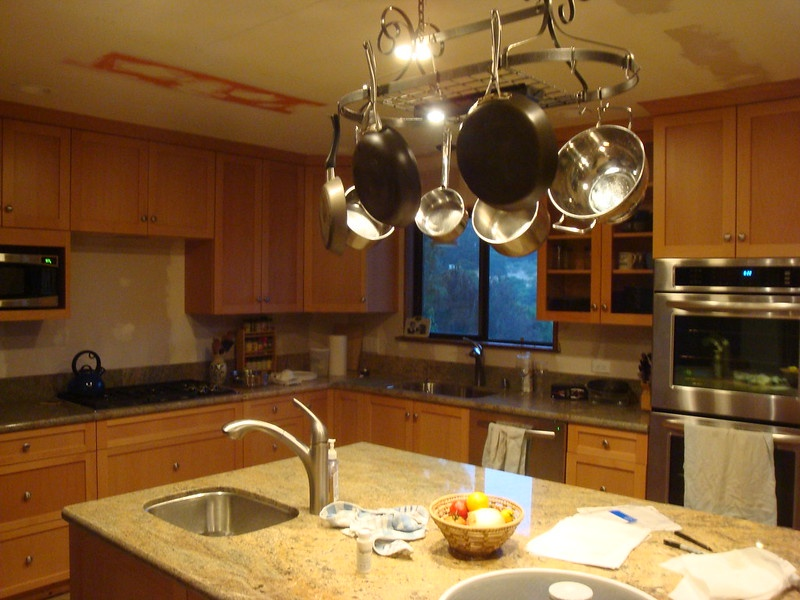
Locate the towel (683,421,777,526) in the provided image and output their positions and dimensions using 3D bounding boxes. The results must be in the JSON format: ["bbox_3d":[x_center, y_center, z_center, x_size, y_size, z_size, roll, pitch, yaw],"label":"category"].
[{"bbox_3d":[1.752,0.947,3.637,0.430,0.605,0.059,2,22,27],"label":"towel"}]

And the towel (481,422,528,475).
[{"bbox_3d":[0.580,0.818,3.714,0.225,0.273,0.038,5,4,31],"label":"towel"}]

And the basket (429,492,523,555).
[{"bbox_3d":[0.252,0.850,2.526,0.318,0.154,0.351,1,3,17],"label":"basket"}]

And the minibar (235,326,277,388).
[{"bbox_3d":[-1.139,0.440,5.466,0.230,0.478,0.126,-3,22,-18],"label":"minibar"}]

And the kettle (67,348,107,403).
[{"bbox_3d":[-2.085,0.482,4.479,0.232,0.294,0.192,1,7,-26],"label":"kettle"}]

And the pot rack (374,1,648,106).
[{"bbox_3d":[0.420,-1.011,2.726,0.553,0.225,0.294,2,-19,39],"label":"pot rack"}]

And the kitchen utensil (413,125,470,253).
[{"bbox_3d":[0.191,-0.427,2.761,0.177,0.533,0.060,3,5,41],"label":"kitchen utensil"}]

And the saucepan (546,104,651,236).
[{"bbox_3d":[0.720,-0.418,2.410,0.312,0.552,0.198,-1,-23,35],"label":"saucepan"}]

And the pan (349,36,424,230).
[{"bbox_3d":[-0.047,-0.572,2.347,0.296,0.595,0.081,0,13,45],"label":"pan"}]

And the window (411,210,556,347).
[{"bbox_3d":[0.605,-0.091,4.626,0.953,0.821,0.081,2,1,41],"label":"window"}]

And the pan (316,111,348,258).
[{"bbox_3d":[-0.252,-0.420,2.521,0.055,0.441,0.219,-3,1,-17],"label":"pan"}]

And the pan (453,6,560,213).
[{"bbox_3d":[0.321,-0.543,2.108,0.313,0.633,0.090,-1,9,32],"label":"pan"}]
